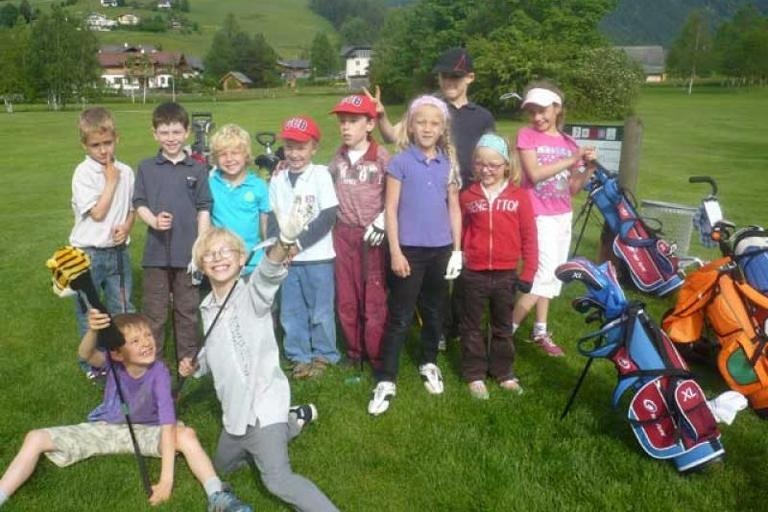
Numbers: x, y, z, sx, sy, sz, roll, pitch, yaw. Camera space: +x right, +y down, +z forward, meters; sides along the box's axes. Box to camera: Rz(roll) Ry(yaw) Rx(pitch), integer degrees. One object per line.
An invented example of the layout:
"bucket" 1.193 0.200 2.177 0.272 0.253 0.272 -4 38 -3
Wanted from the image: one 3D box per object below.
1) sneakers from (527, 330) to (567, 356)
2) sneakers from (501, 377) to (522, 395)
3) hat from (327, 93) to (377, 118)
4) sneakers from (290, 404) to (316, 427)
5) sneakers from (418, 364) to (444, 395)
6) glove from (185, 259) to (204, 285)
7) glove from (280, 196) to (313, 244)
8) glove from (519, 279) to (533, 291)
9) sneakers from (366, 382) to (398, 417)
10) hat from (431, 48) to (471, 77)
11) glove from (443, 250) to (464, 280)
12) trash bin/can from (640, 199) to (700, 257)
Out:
"sneakers" 1.993 1.052 8.985 0.443 0.194 0.159 36 32 25
"sneakers" 1.423 1.425 8.142 0.120 0.096 0.220 -10 10 -23
"hat" -0.292 -1.702 8.189 0.375 0.215 0.270 -11 19 -41
"sneakers" -0.834 1.631 7.655 0.290 0.187 0.097 -17 7 -33
"sneakers" 0.551 1.345 8.141 0.196 0.139 0.349 -13 46 -9
"glove" -1.954 0.145 7.598 0.128 0.153 0.306 30 -5 -7
"glove" -0.856 -0.369 7.208 0.165 0.455 0.340 16 11 -21
"glove" 1.523 0.311 7.911 0.156 0.162 0.096 3 -8 1
"sneakers" -0.007 1.516 8.015 0.283 0.181 0.501 -8 23 25
"hat" 0.835 -2.265 8.562 0.284 0.225 0.397 12 23 27
"glove" 0.769 0.105 8.031 0.182 0.379 0.339 6 17 23
"trash bin/can" 4.173 -0.410 10.828 0.697 0.780 0.500 5 17 20
